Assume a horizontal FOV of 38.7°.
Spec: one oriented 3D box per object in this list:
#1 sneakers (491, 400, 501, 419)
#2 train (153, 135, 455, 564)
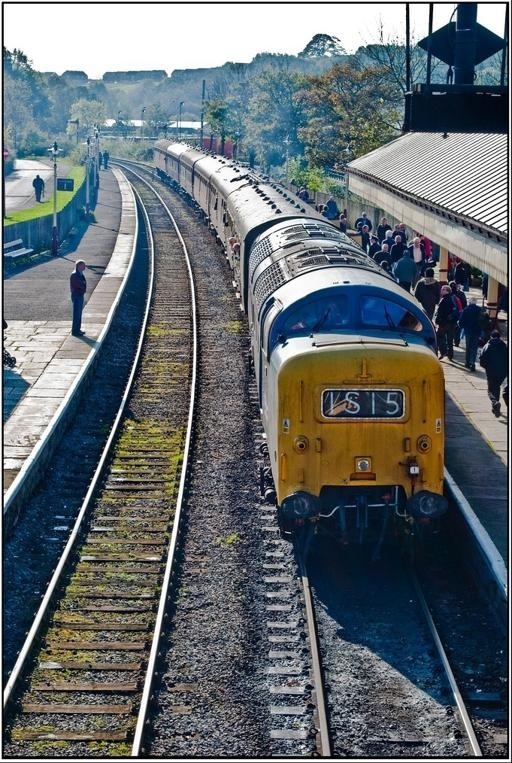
[{"bbox_3d":[4.274,0.484,13.037,0.114,0.384,0.141,-3,5,-11],"label":"sneakers"},{"bbox_3d":[0.528,-1.989,12.873,1.709,2.321,12.367,-1,24,-6],"label":"train"}]
